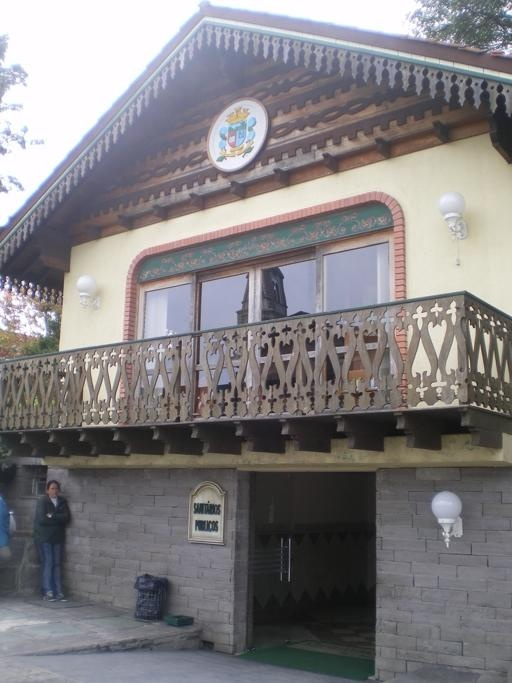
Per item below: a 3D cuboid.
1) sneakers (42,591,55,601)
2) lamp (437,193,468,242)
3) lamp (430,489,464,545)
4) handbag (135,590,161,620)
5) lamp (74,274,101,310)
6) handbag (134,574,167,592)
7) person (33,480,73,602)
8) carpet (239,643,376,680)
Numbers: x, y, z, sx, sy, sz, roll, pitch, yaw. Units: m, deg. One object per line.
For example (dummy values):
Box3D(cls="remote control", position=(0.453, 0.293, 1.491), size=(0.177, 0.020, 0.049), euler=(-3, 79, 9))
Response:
Box3D(cls="sneakers", position=(-3.046, 3.823, 14.018), size=(0.072, 0.091, 0.215), euler=(15, -29, -31))
Box3D(cls="lamp", position=(2.260, -1.450, 10.812), size=(0.243, 0.462, 0.371), euler=(-8, -16, 38))
Box3D(cls="lamp", position=(2.098, 1.979, 10.419), size=(0.329, 0.608, 0.415), euler=(-1, -13, 13))
Box3D(cls="handbag", position=(-1.409, 3.592, 12.719), size=(0.328, 0.421, 0.338), euler=(-9, -19, 19))
Box3D(cls="lamp", position=(-2.598, -0.777, 14.851), size=(0.372, 0.484, 0.597), euler=(4, -14, -8))
Box3D(cls="handbag", position=(-1.411, 3.340, 12.901), size=(0.388, 0.246, 0.374), euler=(-9, -17, 37))
Box3D(cls="person", position=(-3.074, 3.063, 14.395), size=(0.602, 1.775, 0.631), euler=(13, -17, -40))
Box3D(cls="carpet", position=(0.711, 4.028, 11.790), size=(1.938, 0.220, 1.150), euler=(-10, -18, 38))
